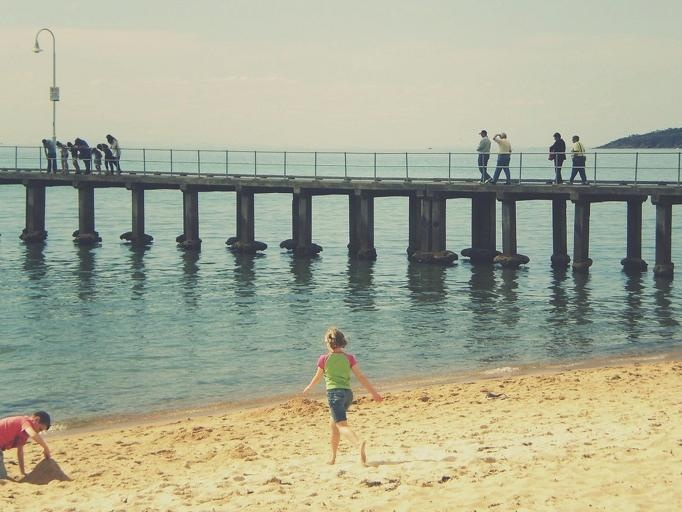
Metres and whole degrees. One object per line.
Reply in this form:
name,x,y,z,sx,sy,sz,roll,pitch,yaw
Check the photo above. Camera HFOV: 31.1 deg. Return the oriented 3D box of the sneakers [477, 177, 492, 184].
sneakers,4.740,-2.468,40.032,0.518,0.184,0.173,0,6,-6
